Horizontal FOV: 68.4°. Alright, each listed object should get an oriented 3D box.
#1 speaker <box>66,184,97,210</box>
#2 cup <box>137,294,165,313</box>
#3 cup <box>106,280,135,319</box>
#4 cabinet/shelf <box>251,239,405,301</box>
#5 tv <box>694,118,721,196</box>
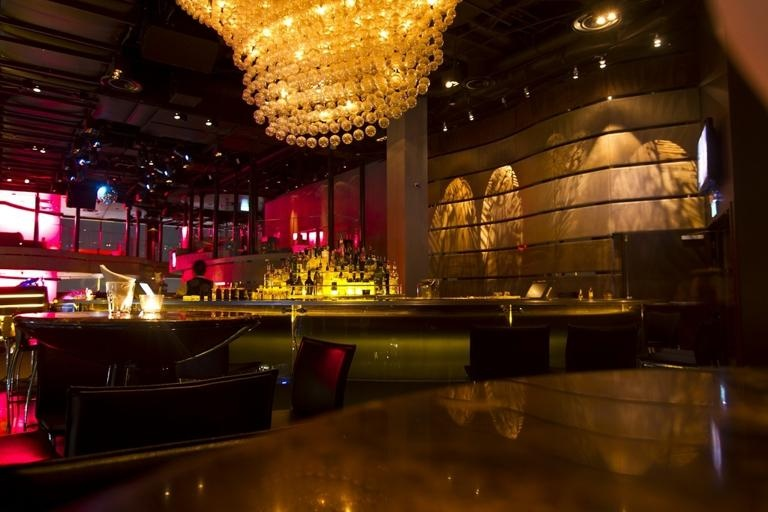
[{"bbox_3d":[-8.201,-1.664,15.426,0.299,0.604,0.567,-4,-6,42],"label":"speaker"},{"bbox_3d":[-1.609,0.332,3.902,0.122,0.094,0.123,-1,-8,0],"label":"cup"},{"bbox_3d":[-1.734,0.288,3.749,0.205,0.270,0.218,1,-1,0],"label":"cup"},{"bbox_3d":[-0.656,0.223,6.542,0.784,0.430,1.099,-3,-6,40],"label":"cabinet/shelf"},{"bbox_3d":[3.901,-1.212,6.781,0.229,0.883,0.671,2,10,28],"label":"tv"}]
